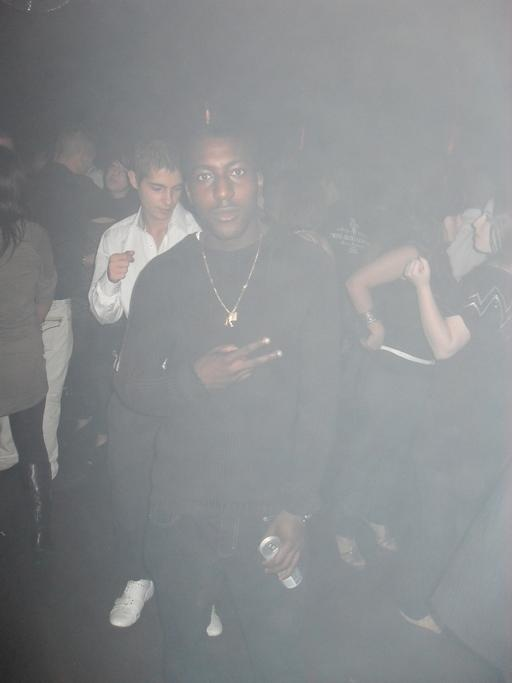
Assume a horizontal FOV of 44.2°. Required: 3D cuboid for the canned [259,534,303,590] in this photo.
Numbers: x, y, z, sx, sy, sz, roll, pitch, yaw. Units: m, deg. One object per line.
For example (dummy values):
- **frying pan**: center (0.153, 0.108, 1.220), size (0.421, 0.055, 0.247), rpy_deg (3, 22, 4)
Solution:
- **canned**: center (0.076, 0.723, 2.078), size (0.105, 0.196, 0.044), rpy_deg (-28, 6, 2)
